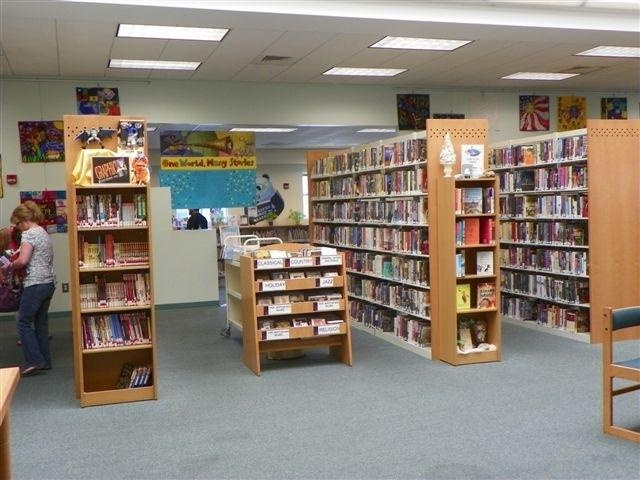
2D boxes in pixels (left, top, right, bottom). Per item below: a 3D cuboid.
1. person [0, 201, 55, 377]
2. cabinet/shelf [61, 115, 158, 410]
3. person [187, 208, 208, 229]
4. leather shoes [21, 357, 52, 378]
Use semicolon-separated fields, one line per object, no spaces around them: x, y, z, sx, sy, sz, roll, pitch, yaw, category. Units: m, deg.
-3.579;0.605;6.138;0.529;2.129;0.554;-5;6;-28;person
-2.210;0.202;5.240;0.889;3.029;0.530;-4;5;-20;cabinet/shelf
-2.979;-0.506;11.915;0.413;0.429;1.239;-3;4;-15;person
-3.552;1.614;6.234;0.415;0.142;0.143;2;-3;-26;leather shoes
